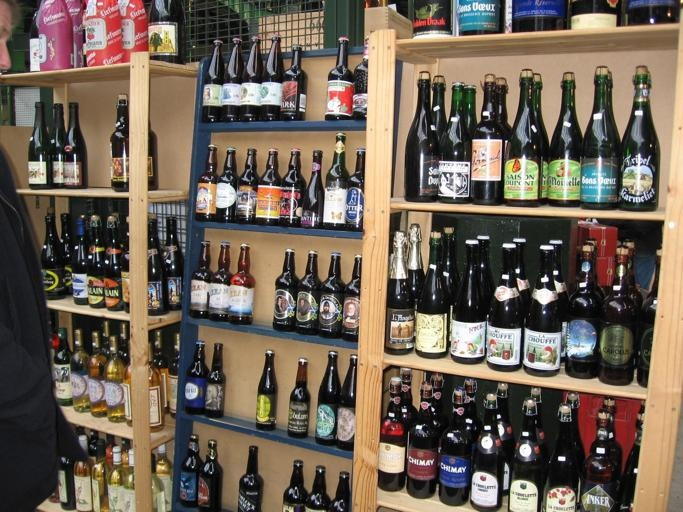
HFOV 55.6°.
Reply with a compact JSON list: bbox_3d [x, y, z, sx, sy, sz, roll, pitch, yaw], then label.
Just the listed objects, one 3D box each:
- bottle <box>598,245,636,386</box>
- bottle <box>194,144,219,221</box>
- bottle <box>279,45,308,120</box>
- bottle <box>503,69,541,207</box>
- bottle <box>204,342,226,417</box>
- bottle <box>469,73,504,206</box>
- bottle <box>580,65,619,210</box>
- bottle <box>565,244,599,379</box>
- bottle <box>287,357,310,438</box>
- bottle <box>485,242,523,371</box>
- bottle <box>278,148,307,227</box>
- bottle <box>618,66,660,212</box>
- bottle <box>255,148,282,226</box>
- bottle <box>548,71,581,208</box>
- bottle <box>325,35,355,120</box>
[{"bbox_3d":[0.952,0.210,2.214,0.123,0.461,0.093,-11,14,-35],"label":"bottle"},{"bbox_3d":[-0.603,-0.325,2.920,0.113,0.325,0.084,-11,14,-34],"label":"bottle"},{"bbox_3d":[-0.213,-0.734,2.767,0.093,0.309,0.116,1,12,17],"label":"bottle"},{"bbox_3d":[0.646,-0.420,2.298,0.129,0.460,0.209,1,12,17],"label":"bottle"},{"bbox_3d":[-0.590,0.574,3.028,0.088,0.344,0.176,-2,12,4],"label":"bottle"},{"bbox_3d":[0.526,-0.401,2.312,0.099,0.426,0.113,8,16,43],"label":"bottle"},{"bbox_3d":[0.886,-0.402,2.202,0.122,0.466,0.174,2,13,23],"label":"bottle"},{"bbox_3d":[0.859,0.184,2.292,0.117,0.462,0.161,1,12,18],"label":"bottle"},{"bbox_3d":[-0.193,0.618,2.900,0.108,0.357,0.215,-3,12,-3],"label":"bottle"},{"bbox_3d":[0.596,0.182,2.346,0.125,0.443,0.145,1,12,16],"label":"bottle"},{"bbox_3d":[-0.212,-0.297,2.801,0.109,0.318,0.176,-2,12,5],"label":"bottle"},{"bbox_3d":[1.012,-0.390,2.172,0.145,0.476,0.143,-3,12,1],"label":"bottle"},{"bbox_3d":[-0.325,-0.303,2.826,0.122,0.312,0.173,-4,12,-7],"label":"bottle"},{"bbox_3d":[0.797,-0.417,2.302,0.110,0.448,0.219,2,13,20],"label":"bottle"},{"bbox_3d":[-0.011,-0.729,2.676,0.128,0.325,0.120,-3,12,1],"label":"bottle"}]
